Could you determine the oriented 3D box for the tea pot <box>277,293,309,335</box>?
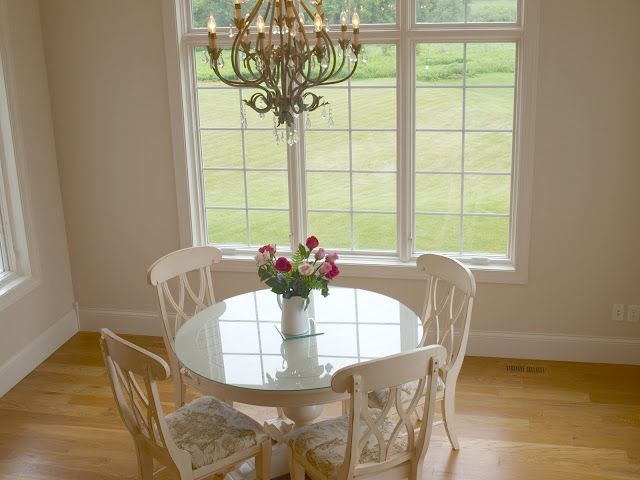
[{"bbox_3d":[-0.118,0.405,2.901,0.195,0.204,0.143,1,11,19],"label":"tea pot"}]

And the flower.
[{"bbox_3d":[-0.103,0.148,2.876,0.361,0.287,0.373,2,16,8],"label":"flower"}]
